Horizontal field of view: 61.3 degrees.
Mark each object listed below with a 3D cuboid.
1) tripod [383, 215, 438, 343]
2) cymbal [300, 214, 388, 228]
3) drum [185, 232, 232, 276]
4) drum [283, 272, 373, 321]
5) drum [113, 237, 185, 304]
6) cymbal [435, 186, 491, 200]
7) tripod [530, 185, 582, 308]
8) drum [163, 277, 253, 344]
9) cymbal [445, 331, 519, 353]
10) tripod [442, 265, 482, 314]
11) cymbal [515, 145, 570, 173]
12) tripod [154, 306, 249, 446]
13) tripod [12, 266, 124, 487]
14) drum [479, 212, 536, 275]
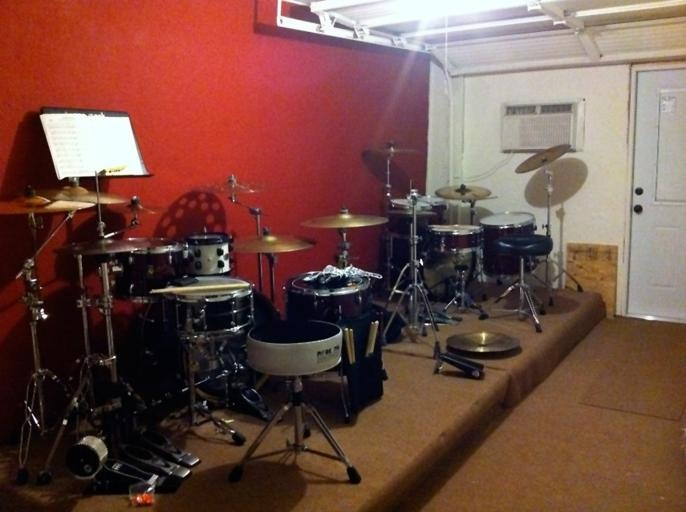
[{"bbox_3d":[0.615,0.099,5.286,0.452,1.064,1.447,-2,10,8],"label":"tripod"},{"bbox_3d":[0.022,-0.259,4.335,0.447,0.136,0.476,5,12,41],"label":"cymbal"},{"bbox_3d":[-0.934,-0.026,4.059,0.280,0.217,0.273,0,5,0],"label":"drum"},{"bbox_3d":[-0.103,0.301,4.302,0.655,0.271,0.667,-4,11,1],"label":"drum"},{"bbox_3d":[-1.272,0.086,3.826,0.361,0.240,0.372,-2,10,0],"label":"drum"},{"bbox_3d":[1.239,-0.636,5.868,0.277,0.068,0.280,-3,19,-10],"label":"cymbal"},{"bbox_3d":[2.223,-0.187,6.186,0.677,1.168,0.569,-11,13,-40],"label":"tripod"},{"bbox_3d":[-0.811,0.286,3.664,0.381,0.208,0.394,-2,11,0],"label":"drum"},{"bbox_3d":[1.126,0.713,4.671,0.570,0.081,0.386,-2,9,8],"label":"cymbal"},{"bbox_3d":[1.200,0.289,5.782,0.434,0.578,0.417,1,8,16],"label":"tripod"},{"bbox_3d":[1.952,-0.963,5.699,0.490,0.234,0.282,-2,10,9],"label":"cymbal"},{"bbox_3d":[-0.875,0.822,3.752,0.592,0.607,0.500,1,-8,2],"label":"tripod"},{"bbox_3d":[-1.579,0.615,3.463,0.571,1.223,1.143,-7,10,-22],"label":"tripod"},{"bbox_3d":[1.620,-0.126,5.856,0.587,0.602,0.607,-1,14,9],"label":"drum"}]
